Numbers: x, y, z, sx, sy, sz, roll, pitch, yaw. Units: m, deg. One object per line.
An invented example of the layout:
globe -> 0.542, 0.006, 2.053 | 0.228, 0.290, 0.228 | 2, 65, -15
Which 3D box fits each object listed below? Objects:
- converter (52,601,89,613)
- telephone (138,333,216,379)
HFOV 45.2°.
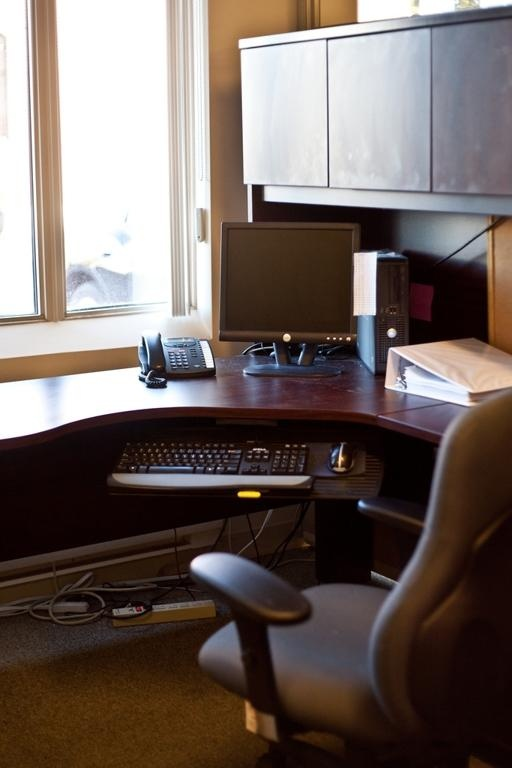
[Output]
converter -> -0.645, 0.783, 2.138 | 0.064, 0.016, 0.061 | 1, 5, -3
telephone -> -0.254, -0.113, 1.951 | 0.227, 0.147, 0.203 | -9, 17, -28
